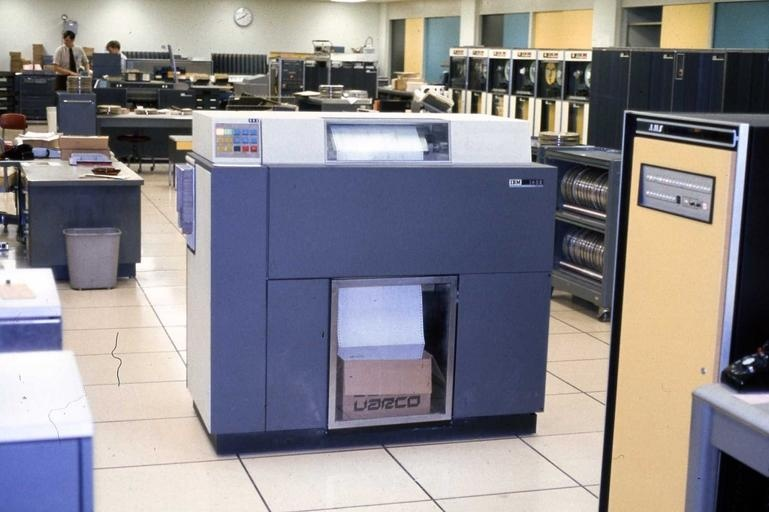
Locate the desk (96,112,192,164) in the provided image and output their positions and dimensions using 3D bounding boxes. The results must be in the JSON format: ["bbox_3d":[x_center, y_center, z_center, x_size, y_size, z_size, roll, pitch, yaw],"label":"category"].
[{"bbox_3d":[-4.769,-2.254,12.559,1.617,0.751,0.891,-9,9,-41],"label":"desk"}]

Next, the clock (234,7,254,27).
[{"bbox_3d":[-5.301,-8.935,24.486,0.611,0.625,0.126,-15,7,-17],"label":"clock"}]

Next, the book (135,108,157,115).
[{"bbox_3d":[-4.502,-2.728,12.410,0.402,0.089,0.519,-4,16,-20],"label":"book"}]

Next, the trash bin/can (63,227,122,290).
[{"bbox_3d":[-2.770,0.014,6.192,0.506,0.534,0.325,0,18,-14],"label":"trash bin/can"}]

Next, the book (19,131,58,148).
[{"bbox_3d":[-4.365,-1.477,8.294,0.391,0.145,0.390,-3,11,-30],"label":"book"}]

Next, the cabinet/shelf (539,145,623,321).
[{"bbox_3d":[1.824,-0.240,6.096,0.506,1.422,1.052,0,14,-7],"label":"cabinet/shelf"}]

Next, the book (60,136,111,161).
[{"bbox_3d":[-3.306,-1.197,7.284,0.660,0.268,0.397,16,20,42],"label":"book"}]

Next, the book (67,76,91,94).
[{"bbox_3d":[-5.494,-3.080,11.841,0.357,0.228,0.362,0,4,-5],"label":"book"}]

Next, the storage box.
[{"bbox_3d":[-0.012,0.739,3.679,0.407,0.255,0.403,0,4,3],"label":"storage box"}]

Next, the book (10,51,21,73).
[{"bbox_3d":[-11.874,-6.269,21.196,0.390,0.601,1.329,-6,17,-28],"label":"book"}]

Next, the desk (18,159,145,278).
[{"bbox_3d":[-2.975,-0.447,6.623,0.937,0.876,1.772,0,11,-16],"label":"desk"}]

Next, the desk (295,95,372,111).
[{"bbox_3d":[-0.989,-3.073,13.169,1.089,0.369,1.630,-1,10,-15],"label":"desk"}]
